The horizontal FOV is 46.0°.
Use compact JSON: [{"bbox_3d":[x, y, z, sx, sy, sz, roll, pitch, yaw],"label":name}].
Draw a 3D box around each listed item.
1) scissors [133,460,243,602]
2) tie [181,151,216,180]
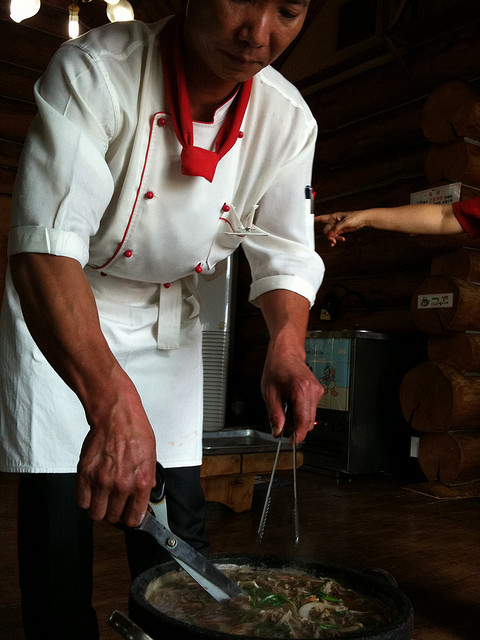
[{"bbox_3d":[-0.088,0.255,0.686,0.219,0.016,0.077,42,53,1],"label":"scissors"},{"bbox_3d":[-0.069,-0.249,0.916,0.044,0.026,0.044,23,7,23],"label":"tie"}]
